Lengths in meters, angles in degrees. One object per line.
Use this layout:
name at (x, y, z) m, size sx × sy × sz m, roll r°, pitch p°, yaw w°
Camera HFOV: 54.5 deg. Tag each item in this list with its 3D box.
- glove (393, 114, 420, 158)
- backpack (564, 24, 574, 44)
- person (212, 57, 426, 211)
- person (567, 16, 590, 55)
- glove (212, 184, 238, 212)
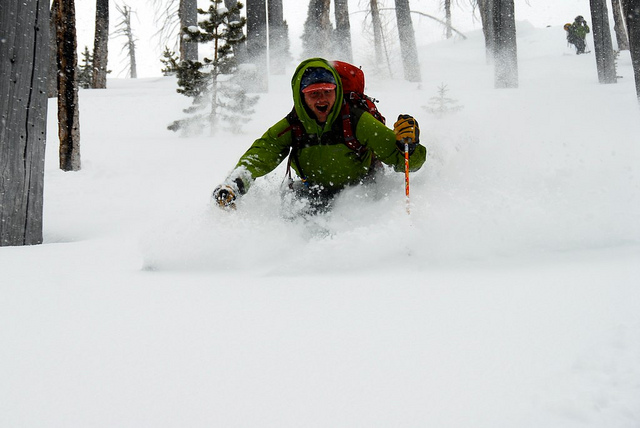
glove at (0.919, -0.861, 6.812) m, size 0.173 × 0.308 × 0.452 m, roll -5°, pitch 51°, yaw 1°
backpack at (8.037, -5.814, 19.918) m, size 0.160 × 0.632 × 1.151 m, roll -1°, pitch 11°, yaw 17°
person at (0.021, -0.935, 6.978) m, size 2.214 × 1.627 × 0.914 m, roll -4°, pitch 9°, yaw -4°
person at (8.048, -5.553, 19.243) m, size 0.503 × 1.216 × 1.215 m, roll 0°, pitch 10°, yaw 19°
glove at (-1.008, -0.178, 6.649) m, size 0.202 × 0.250 × 0.288 m, roll 10°, pitch -19°, yaw 13°
